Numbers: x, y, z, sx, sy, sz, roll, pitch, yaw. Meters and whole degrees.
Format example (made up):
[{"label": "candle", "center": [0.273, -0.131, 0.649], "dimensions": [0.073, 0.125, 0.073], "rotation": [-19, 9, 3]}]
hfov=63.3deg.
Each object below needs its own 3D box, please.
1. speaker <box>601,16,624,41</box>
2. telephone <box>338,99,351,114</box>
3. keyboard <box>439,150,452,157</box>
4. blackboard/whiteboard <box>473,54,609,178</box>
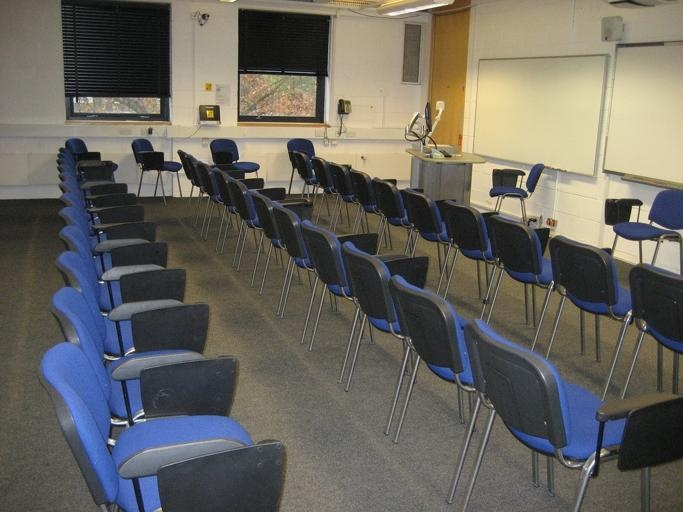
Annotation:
[{"label": "speaker", "center": [3.525, -2.948, 7.224], "dimensions": [0.122, 0.312, 0.336], "rotation": [-7, 15, -23]}, {"label": "telephone", "center": [0.032, -2.943, 10.979], "dimensions": [0.190, 0.302, 0.295], "rotation": [-4, 12, -22]}, {"label": "keyboard", "center": [1.578, -1.563, 8.445], "dimensions": [0.111, 0.049, 0.190], "rotation": [-1, 29, -24]}, {"label": "blackboard/whiteboard", "center": [3.085, -2.131, 8.410], "dimensions": [0.079, 1.403, 2.120], "rotation": [-7, 15, -27]}]
